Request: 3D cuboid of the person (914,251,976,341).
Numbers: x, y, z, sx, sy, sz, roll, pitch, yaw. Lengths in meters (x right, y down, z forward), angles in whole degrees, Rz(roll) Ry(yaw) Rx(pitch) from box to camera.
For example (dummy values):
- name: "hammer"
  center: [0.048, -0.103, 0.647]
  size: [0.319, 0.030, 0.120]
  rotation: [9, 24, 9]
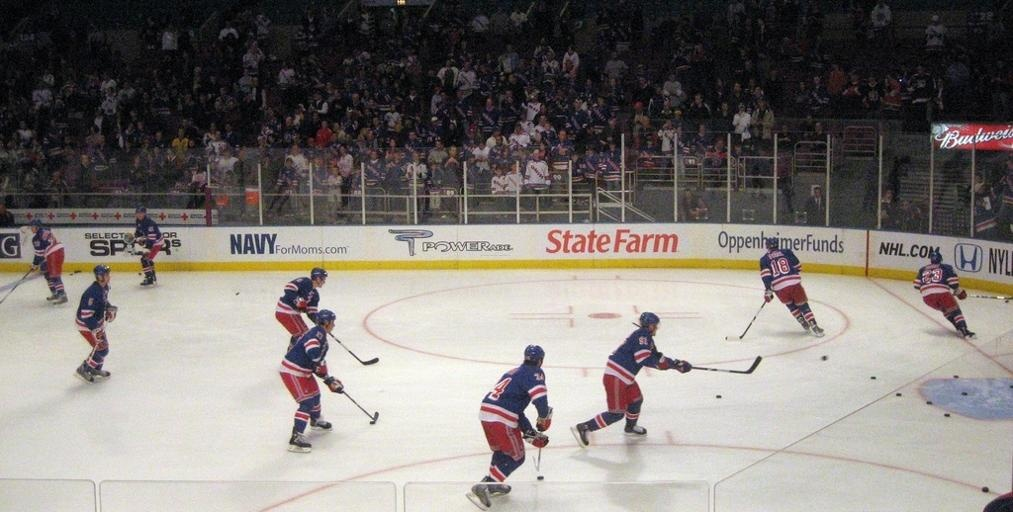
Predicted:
- name: "person"
  center: [12.463, 1.093, 32.235]
  size: [1.506, 2.348, 1.090]
  rotation: [-1, 8, 15]

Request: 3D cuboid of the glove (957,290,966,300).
- name: "glove"
  center: [12.875, 1.100, 31.878]
  size: [0.284, 0.223, 0.461]
  rotation: [-9, -2, 27]

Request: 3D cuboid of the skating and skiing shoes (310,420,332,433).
- name: "skating and skiing shoes"
  center: [-4.731, 4.311, 28.462]
  size: [0.583, 0.241, 0.244]
  rotation: [-3, 19, -5]

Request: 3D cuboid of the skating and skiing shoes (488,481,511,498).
- name: "skating and skiing shoes"
  center: [-0.193, 5.325, 25.561]
  size: [0.628, 0.225, 0.229]
  rotation: [1, 1, 3]

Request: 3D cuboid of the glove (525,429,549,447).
- name: "glove"
  center: [0.652, 4.332, 26.751]
  size: [0.603, 0.235, 0.340]
  rotation: [16, -2, -9]

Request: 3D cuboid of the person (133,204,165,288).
- name: "person"
  center: [-11.906, -0.338, 37.059]
  size: [0.812, 2.545, 0.789]
  rotation: [-3, 8, 2]

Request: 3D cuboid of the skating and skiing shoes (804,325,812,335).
- name: "skating and skiing shoes"
  center: [8.636, 2.115, 32.285]
  size: [0.140, 0.145, 0.379]
  rotation: [-7, 6, 9]

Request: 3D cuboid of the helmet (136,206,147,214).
- name: "helmet"
  center: [-12.042, -1.514, 36.890]
  size: [0.236, 0.210, 0.293]
  rotation: [11, 7, 0]

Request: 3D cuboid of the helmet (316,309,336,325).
- name: "helmet"
  center: [-4.570, 1.546, 28.177]
  size: [0.451, 0.324, 0.311]
  rotation: [-22, 35, -3]

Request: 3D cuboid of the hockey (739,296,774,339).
- name: "hockey"
  center: [7.369, 1.870, 33.229]
  size: [0.222, 1.678, 0.229]
  rotation: [27, 44, -3]

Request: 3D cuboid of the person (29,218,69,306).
- name: "person"
  center: [-14.430, 0.140, 35.348]
  size: [0.865, 2.627, 1.047]
  rotation: [-5, 8, -19]

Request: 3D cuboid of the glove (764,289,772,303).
- name: "glove"
  center: [7.490, 1.132, 32.373]
  size: [0.209, 0.333, 0.541]
  rotation: [-2, 6, 8]

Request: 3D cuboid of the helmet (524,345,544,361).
- name: "helmet"
  center: [0.630, 2.318, 26.787]
  size: [0.463, 0.382, 0.367]
  rotation: [-9, 17, -39]

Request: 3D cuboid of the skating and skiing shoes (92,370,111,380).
- name: "skating and skiing shoes"
  center: [-11.009, 3.209, 30.464]
  size: [0.472, 0.172, 0.167]
  rotation: [-3, 20, -15]

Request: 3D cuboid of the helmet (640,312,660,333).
- name: "helmet"
  center: [3.549, 1.626, 28.056]
  size: [0.569, 0.467, 0.424]
  rotation: [-10, 19, -25]

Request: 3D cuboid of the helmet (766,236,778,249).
- name: "helmet"
  center: [7.805, -0.369, 32.798]
  size: [0.370, 0.319, 0.454]
  rotation: [0, -1, -2]

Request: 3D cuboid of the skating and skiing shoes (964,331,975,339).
- name: "skating and skiing shoes"
  center: [13.065, 2.220, 31.785]
  size: [0.376, 0.201, 0.168]
  rotation: [-5, 7, -21]
